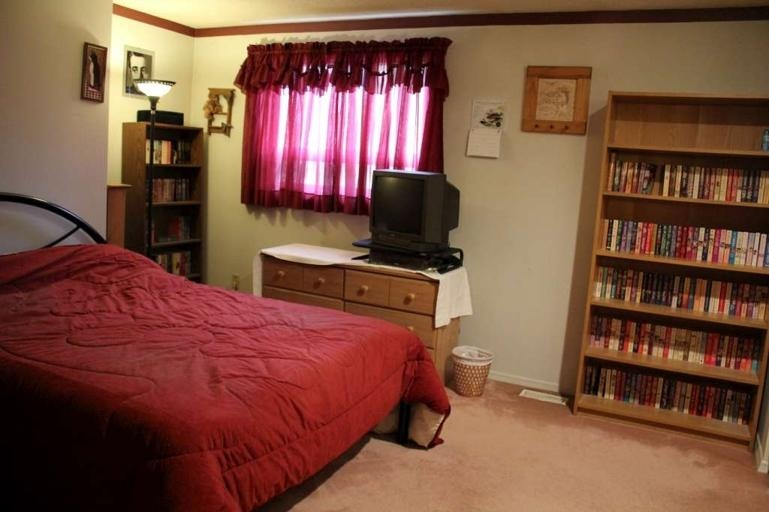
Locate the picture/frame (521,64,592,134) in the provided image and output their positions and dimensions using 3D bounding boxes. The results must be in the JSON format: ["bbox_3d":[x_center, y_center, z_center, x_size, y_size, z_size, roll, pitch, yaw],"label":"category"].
[{"bbox_3d":[1.456,-1.337,4.721,0.530,0.553,0.059,0,14,-2],"label":"picture/frame"}]

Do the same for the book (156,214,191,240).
[{"bbox_3d":[-2.240,-0.300,5.957,0.369,0.231,0.389,-13,8,-38],"label":"book"}]

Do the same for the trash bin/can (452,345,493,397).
[{"bbox_3d":[0.758,1.013,4.777,0.380,0.341,0.366,3,2,-3],"label":"trash bin/can"}]

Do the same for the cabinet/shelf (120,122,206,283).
[{"bbox_3d":[-2.300,-0.635,5.771,0.323,1.652,0.630,22,27,28],"label":"cabinet/shelf"}]

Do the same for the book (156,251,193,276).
[{"bbox_3d":[-2.227,0.065,5.971,0.223,0.400,0.423,7,5,13],"label":"book"}]

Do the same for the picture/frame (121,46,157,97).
[{"bbox_3d":[-2.457,-1.846,5.565,0.335,0.488,0.027,9,11,13],"label":"picture/frame"}]
